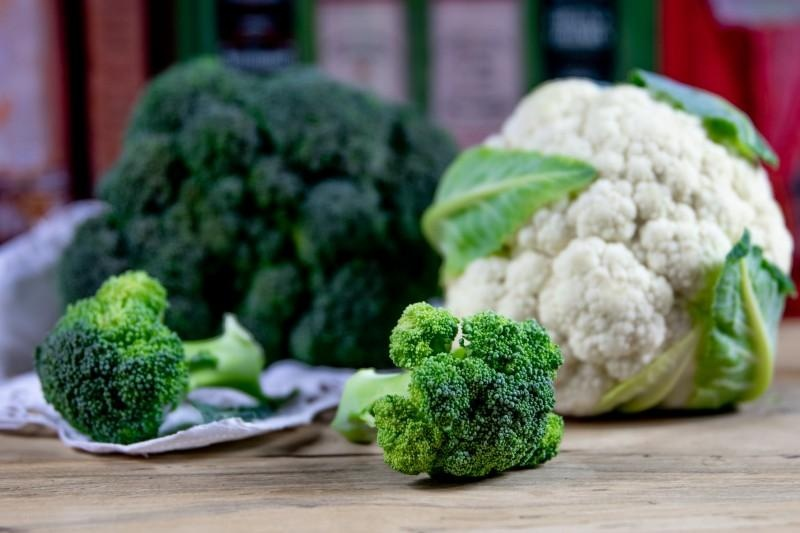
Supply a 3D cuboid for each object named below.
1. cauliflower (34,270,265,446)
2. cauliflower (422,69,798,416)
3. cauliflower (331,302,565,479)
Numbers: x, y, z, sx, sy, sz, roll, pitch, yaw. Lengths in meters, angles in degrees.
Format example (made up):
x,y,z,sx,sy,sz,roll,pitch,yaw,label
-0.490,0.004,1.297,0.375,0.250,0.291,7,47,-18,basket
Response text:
x,y,z,sx,sy,sz,roll,pitch,yaw,label
-0.518,0.213,2.006,0.459,0.257,0.340,-8,38,-38,cauliflower
0.452,-0.053,2.005,0.773,0.628,0.444,1,26,1,cauliflower
0.128,0.267,1.899,0.375,0.300,0.470,4,-10,-15,cauliflower
